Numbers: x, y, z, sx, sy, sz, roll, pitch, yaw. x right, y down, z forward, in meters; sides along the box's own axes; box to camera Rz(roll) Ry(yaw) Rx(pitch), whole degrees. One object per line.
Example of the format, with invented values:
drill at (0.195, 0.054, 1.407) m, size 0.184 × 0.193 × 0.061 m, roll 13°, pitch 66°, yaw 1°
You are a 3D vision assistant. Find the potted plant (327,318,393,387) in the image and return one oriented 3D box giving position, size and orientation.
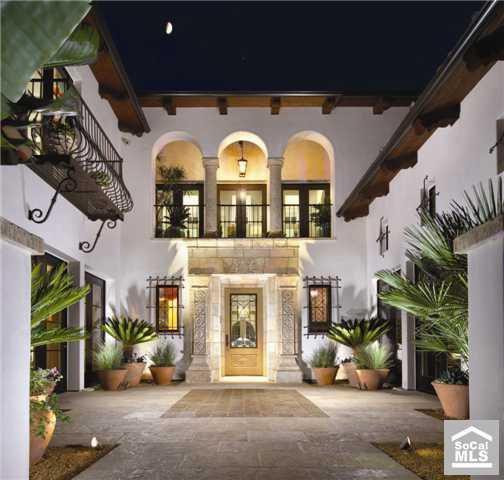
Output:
potted plant at (2.266, 2.311, 10.214) m, size 1.003 × 1.370 × 1.186 m, roll -1°, pitch -13°, yaw 1°

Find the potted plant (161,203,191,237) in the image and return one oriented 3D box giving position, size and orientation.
potted plant at (-1.990, -0.415, 13.125) m, size 0.556 × 1.018 × 0.692 m, roll -1°, pitch -18°, yaw 8°

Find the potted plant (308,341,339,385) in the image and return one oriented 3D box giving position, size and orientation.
potted plant at (1.671, 2.829, 11.404) m, size 0.656 × 1.231 × 0.769 m, roll -3°, pitch -12°, yaw 22°

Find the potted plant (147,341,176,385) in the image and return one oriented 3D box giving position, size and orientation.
potted plant at (-2.020, 2.767, 11.361) m, size 0.591 × 1.047 × 0.595 m, roll -4°, pitch -10°, yaw 29°

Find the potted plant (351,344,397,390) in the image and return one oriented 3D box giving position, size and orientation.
potted plant at (2.376, 2.513, 9.893) m, size 0.650 × 0.913 × 0.664 m, roll -1°, pitch -4°, yaw -36°

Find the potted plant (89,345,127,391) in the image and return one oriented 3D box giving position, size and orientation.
potted plant at (-2.812, 2.556, 9.998) m, size 0.547 × 0.915 × 0.653 m, roll -3°, pitch -4°, yaw -9°

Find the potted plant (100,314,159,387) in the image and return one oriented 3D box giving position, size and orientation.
potted plant at (-2.670, 2.362, 10.874) m, size 0.943 × 1.210 × 0.994 m, roll 6°, pitch -5°, yaw -39°
